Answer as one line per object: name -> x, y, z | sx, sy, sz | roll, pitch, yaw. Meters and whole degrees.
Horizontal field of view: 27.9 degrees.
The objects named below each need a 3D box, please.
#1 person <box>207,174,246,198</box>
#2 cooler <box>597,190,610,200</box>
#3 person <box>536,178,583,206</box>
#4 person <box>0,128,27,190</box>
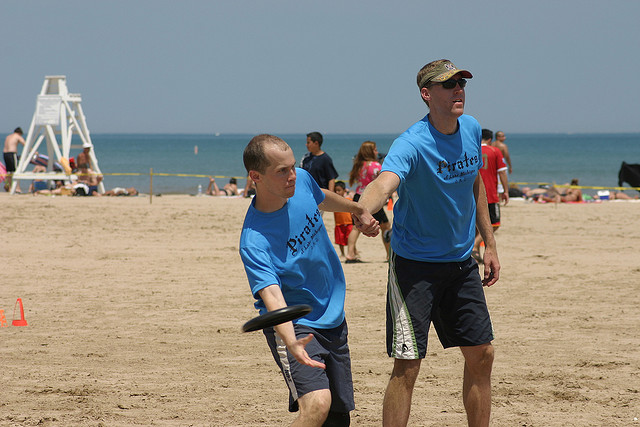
person -> -2.727, -0.807, 37.071 | 1.029, 0.577, 1.227 | -2, -1, -5
cooler -> 7.467, -0.509, 33.930 | 0.269, 0.237, 0.429 | -3, -1, 19
person -> 6.328, -0.508, 33.824 | 1.232, 0.621, 0.945 | -2, -1, -1
person -> -8.536, -1.610, 35.882 | 0.571, 1.477, 2.770 | -2, -1, -14
